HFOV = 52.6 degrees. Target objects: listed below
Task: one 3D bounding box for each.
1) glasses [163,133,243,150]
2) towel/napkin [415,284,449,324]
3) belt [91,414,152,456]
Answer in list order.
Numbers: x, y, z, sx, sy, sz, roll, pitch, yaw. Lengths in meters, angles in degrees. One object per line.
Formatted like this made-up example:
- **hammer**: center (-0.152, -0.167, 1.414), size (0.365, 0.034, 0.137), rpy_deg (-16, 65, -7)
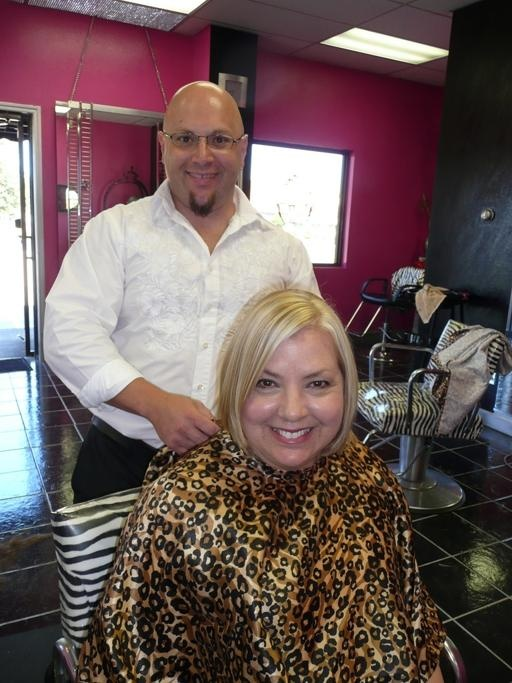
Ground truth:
- **glasses**: center (-0.132, -0.485, 1.251), size (0.174, 0.037, 0.060), rpy_deg (1, 13, -6)
- **towel/napkin**: center (1.320, -0.282, 4.006), size (0.113, 0.283, 0.296), rpy_deg (9, 21, -20)
- **belt**: center (-0.326, 0.212, 1.264), size (0.106, 0.027, 0.102), rpy_deg (26, -1, 3)
